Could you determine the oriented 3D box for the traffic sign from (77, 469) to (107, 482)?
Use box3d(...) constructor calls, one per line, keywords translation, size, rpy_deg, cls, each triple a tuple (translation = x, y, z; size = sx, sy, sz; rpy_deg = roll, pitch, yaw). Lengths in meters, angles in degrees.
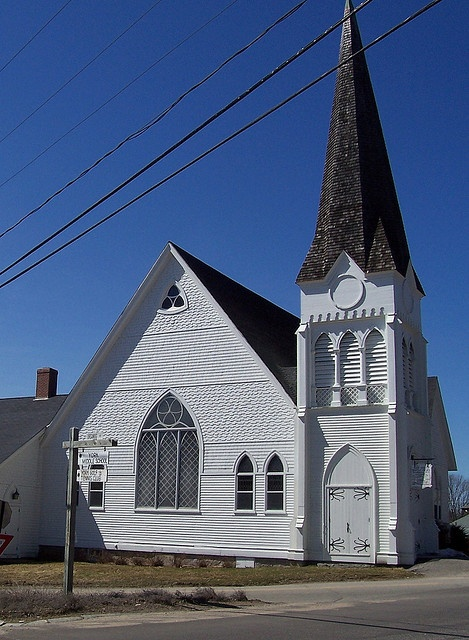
box3d(translation=(-2.676, 2.941, 16.357), size=(0.542, 0.246, 0.817), rpy_deg=(3, -17, -9), cls="traffic sign")
